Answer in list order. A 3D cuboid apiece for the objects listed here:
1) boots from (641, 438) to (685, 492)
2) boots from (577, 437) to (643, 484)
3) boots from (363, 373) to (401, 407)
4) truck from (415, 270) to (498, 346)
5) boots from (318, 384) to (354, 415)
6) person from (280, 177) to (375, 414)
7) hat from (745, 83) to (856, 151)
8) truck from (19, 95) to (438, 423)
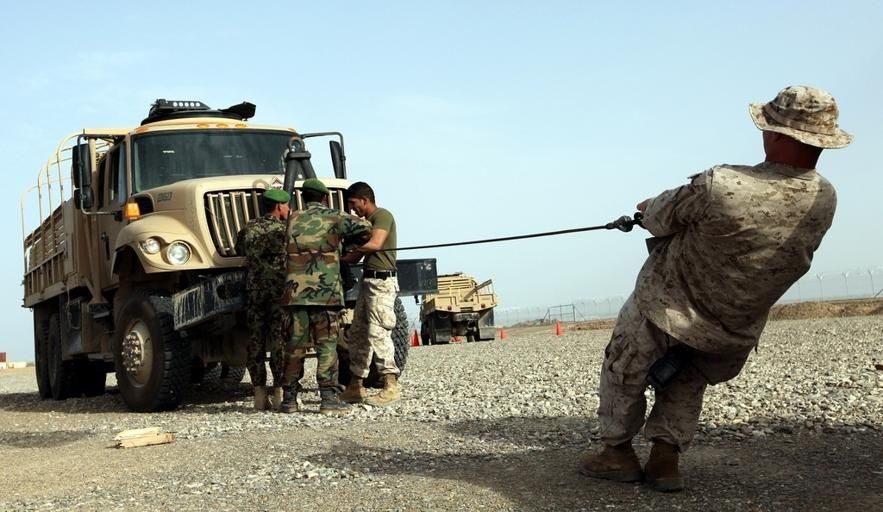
[{"bbox_3d":[1.845,1.739,5.955,0.181,0.382,0.400,31,-21,-23],"label":"boots"},{"bbox_3d":[1.402,1.727,6.213,0.586,0.385,0.228,-7,8,38],"label":"boots"},{"bbox_3d":[-0.756,1.709,9.180,0.276,0.415,0.613,-4,-6,35],"label":"boots"},{"bbox_3d":[0.750,2.115,26.810,2.344,2.060,3.868,-1,2,-13],"label":"truck"},{"bbox_3d":[-1.217,1.781,8.886,0.568,0.358,0.228,0,-2,-5],"label":"boots"},{"bbox_3d":[-1.455,0.495,8.802,1.020,2.771,0.551,-3,0,-14],"label":"person"},{"bbox_3d":[2.841,-1.157,5.735,0.869,0.346,0.783,9,30,6],"label":"hat"},{"bbox_3d":[-4.420,0.172,12.392,4.173,3.472,7.675,2,-9,-33],"label":"truck"}]
